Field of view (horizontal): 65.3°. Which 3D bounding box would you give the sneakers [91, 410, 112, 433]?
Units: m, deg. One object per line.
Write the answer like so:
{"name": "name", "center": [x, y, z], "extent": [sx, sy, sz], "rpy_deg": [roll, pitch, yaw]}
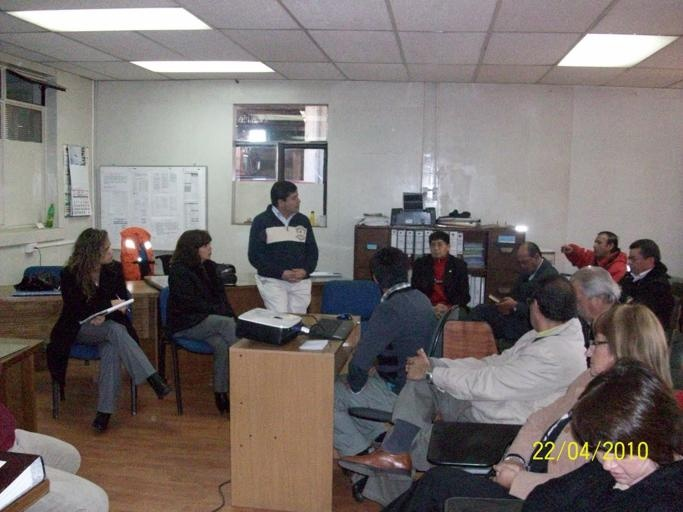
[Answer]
{"name": "sneakers", "center": [-1.832, 1.279, 4.095], "extent": [0.086, 0.108, 0.258], "rpy_deg": [11, -26, -6]}

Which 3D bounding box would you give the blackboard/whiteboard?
{"name": "blackboard/whiteboard", "center": [-2.355, -0.652, 6.824], "extent": [1.187, 0.966, 0.049], "rpy_deg": [0, 6, 6]}

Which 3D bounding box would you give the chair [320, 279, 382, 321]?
{"name": "chair", "center": [0.066, 0.340, 4.379], "extent": [0.337, 0.485, 0.386], "rpy_deg": [1, 0, -5]}

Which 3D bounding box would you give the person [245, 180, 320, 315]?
{"name": "person", "center": [-0.532, -0.062, 4.920], "extent": [0.632, 1.243, 0.444], "rpy_deg": [-1, 11, -7]}

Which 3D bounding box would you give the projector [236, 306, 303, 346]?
{"name": "projector", "center": [-0.456, 0.423, 3.267], "extent": [0.327, 0.109, 0.199], "rpy_deg": [3, 5, 19]}

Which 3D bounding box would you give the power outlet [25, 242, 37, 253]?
{"name": "power outlet", "center": [-3.608, -0.095, 6.181], "extent": [0.071, 0.094, 0.108], "rpy_deg": [3, -6, -1]}

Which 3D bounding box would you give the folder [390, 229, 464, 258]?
{"name": "folder", "center": [1.054, -0.153, 6.834], "extent": [0.918, 0.330, 0.858], "rpy_deg": [1, 1, 0]}

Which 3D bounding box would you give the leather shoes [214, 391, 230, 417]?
{"name": "leather shoes", "center": [-0.992, 1.222, 4.438], "extent": [0.079, 0.176, 0.246], "rpy_deg": [1, 7, -2]}

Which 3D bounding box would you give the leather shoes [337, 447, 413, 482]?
{"name": "leather shoes", "center": [0.220, 1.189, 3.149], "extent": [0.480, 0.220, 0.164], "rpy_deg": [6, -4, 6]}
